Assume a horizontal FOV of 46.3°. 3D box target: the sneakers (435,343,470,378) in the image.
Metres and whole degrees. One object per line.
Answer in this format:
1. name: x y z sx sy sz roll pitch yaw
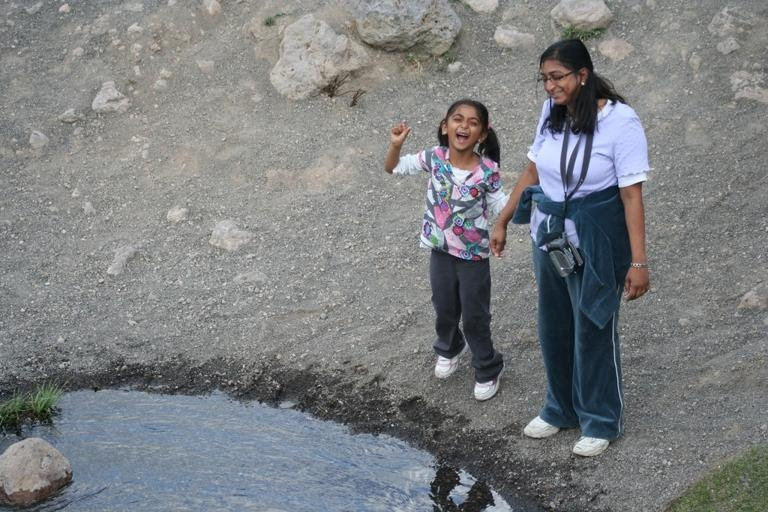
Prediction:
1. sneakers: 0.637 1.004 8.607 0.175 0.214 0.469 35 76 16

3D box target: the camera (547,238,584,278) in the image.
1. camera: 1.489 0.001 7.304 0.165 0.223 0.288 -29 86 -27

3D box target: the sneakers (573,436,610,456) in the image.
1. sneakers: 1.800 1.662 7.807 0.294 0.128 0.154 -7 46 0

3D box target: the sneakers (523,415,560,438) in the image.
1. sneakers: 1.389 1.537 8.010 0.318 0.200 0.160 5 19 0
